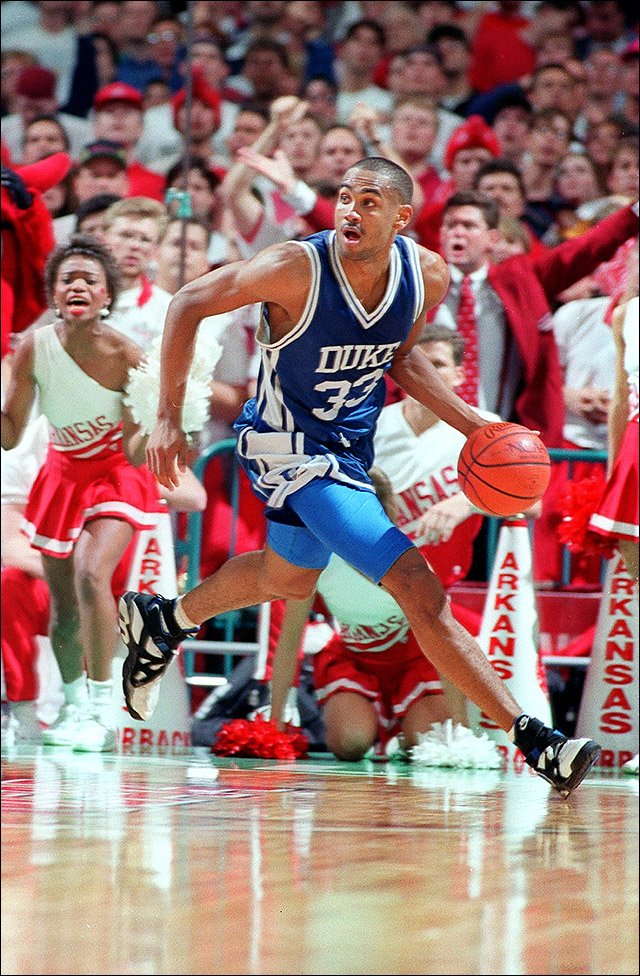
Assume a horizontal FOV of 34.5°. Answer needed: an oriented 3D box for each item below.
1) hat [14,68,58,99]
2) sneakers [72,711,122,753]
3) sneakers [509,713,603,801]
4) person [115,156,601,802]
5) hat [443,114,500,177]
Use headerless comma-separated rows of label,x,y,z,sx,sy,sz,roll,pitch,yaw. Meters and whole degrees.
hat,-2.091,-2.901,7.555,0.297,0.208,0.271,0,60,-5
sneakers,-0.732,0.801,3.344,0.125,0.243,0.119,2,76,2
sneakers,0.521,0.594,2.388,0.134,0.278,0.102,36,86,-19
person,0.028,-0.058,2.681,1.640,0.628,1.503,5,96,36
hat,0.884,-2.004,6.040,0.289,0.176,0.353,4,107,3
